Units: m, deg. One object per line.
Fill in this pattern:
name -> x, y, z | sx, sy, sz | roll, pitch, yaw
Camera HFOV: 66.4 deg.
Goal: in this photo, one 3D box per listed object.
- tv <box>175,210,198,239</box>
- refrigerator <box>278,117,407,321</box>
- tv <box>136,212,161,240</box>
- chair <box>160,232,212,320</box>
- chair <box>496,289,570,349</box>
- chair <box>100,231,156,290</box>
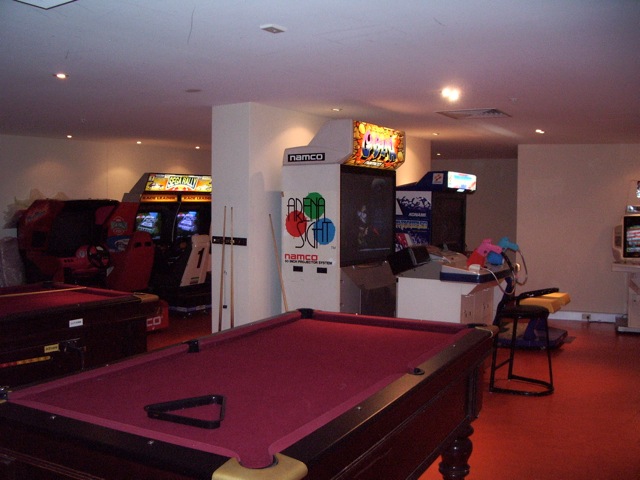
tv -> -2.523, -0.287, 9.160 | 0.053, 0.519, 0.544 | 3, 4, 42
refrigerator -> 0.339, -0.170, 5.853 | 1.437, 2.351, 0.740 | -3, 6, -33
tv -> -3.144, -0.271, 8.930 | 0.068, 0.449, 0.526 | -4, -5, 40
chair -> -2.176, 0.558, 7.990 | 0.789, 1.296, 0.596 | -1, 6, -17
chair -> 2.856, 1.131, 6.451 | 0.936, 0.580, 1.247 | -1, 2, 26
chair -> -2.775, 0.331, 7.453 | 0.936, 0.993, 0.755 | 4, 4, 42
